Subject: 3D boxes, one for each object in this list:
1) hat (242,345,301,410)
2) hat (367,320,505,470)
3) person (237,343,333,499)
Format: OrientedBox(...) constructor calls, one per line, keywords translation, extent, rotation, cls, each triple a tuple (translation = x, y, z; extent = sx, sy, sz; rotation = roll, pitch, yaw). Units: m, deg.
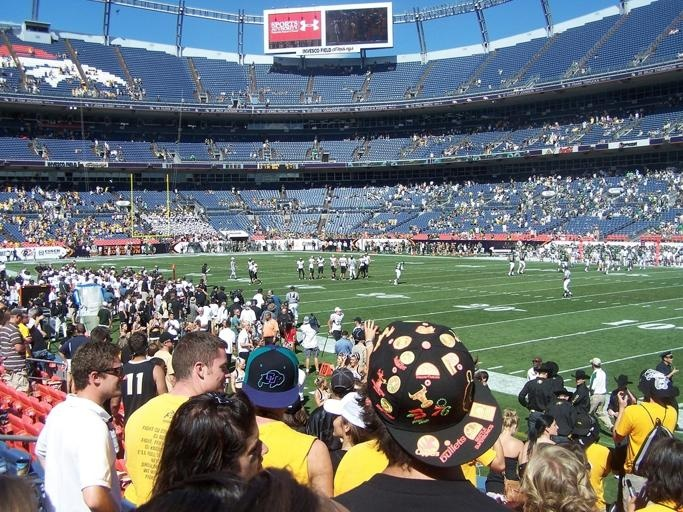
OrientedBox(translation=(-0.479, 0.853, 4.155), extent=(0.331, 0.178, 0.466), rotation=(2, 26, -5), cls="hat")
OrientedBox(translation=(0.462, 0.735, 3.131), extent=(0.569, 0.303, 0.775), rotation=(-29, 53, -12), cls="hat")
OrientedBox(translation=(-0.433, 1.068, 4.079), extent=(0.591, 0.479, 0.954), rotation=(0, 19, -17), cls="person")
